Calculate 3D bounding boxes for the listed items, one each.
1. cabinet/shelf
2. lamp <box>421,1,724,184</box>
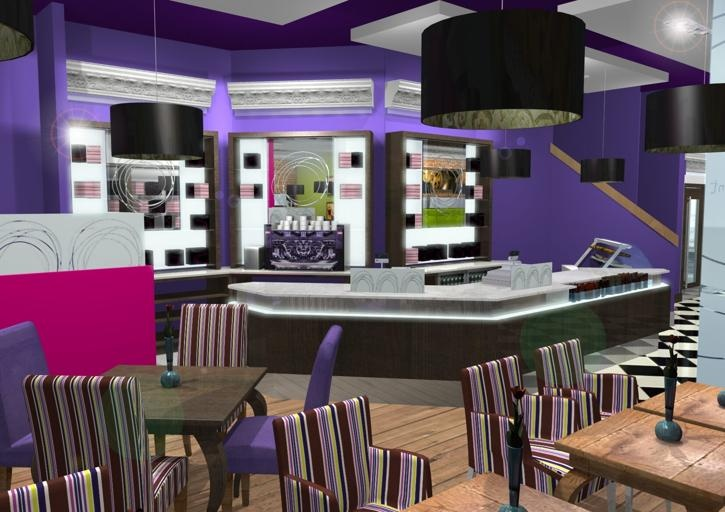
[{"bbox_3d":[-0.016,-0.783,7.968,3.960,1.987,1.107,-3,7,-2],"label":"cabinet/shelf"},{"bbox_3d":[1.121,-0.871,3.006,1.588,0.402,0.909,2,-2,-39],"label":"lamp"}]
